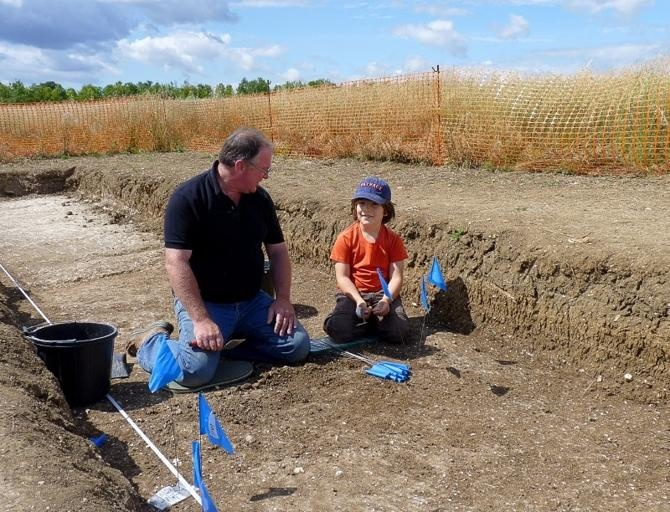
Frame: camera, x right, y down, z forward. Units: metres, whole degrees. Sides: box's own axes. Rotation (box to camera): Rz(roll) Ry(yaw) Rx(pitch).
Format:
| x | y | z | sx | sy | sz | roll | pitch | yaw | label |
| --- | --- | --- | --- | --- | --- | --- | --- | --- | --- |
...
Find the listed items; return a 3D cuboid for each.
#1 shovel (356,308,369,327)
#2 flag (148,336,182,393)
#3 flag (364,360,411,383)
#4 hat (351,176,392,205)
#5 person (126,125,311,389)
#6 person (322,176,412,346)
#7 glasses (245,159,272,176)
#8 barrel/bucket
| x | y | z | sx | sy | sz | roll | pitch | yaw | label |
| --- | --- | --- | --- | --- | --- | --- | --- | --- | --- |
| 0.222 | 0.501 | 5.606 | 0.105 | 0.103 | 0.181 | 29 | 0 | 1 | shovel |
| -1.102 | 0.659 | 4.456 | 0.199 | 0.062 | 0.550 | -2 | 39 | -11 | flag |
| 0.408 | 0.873 | 5.136 | 0.221 | 0.062 | 0.162 | 8 | 19 | 42 | flag |
| 0.335 | -0.541 | 5.710 | 0.225 | 0.167 | 0.304 | 7 | 2 | 19 | hat |
| -0.887 | -0.008 | 5.099 | 1.240 | 1.817 | 0.678 | -9 | 20 | -21 | person |
| 0.289 | 0.038 | 5.676 | 0.737 | 1.310 | 0.904 | 6 | 20 | 21 | person |
| -0.545 | -0.640 | 4.993 | 0.095 | 0.158 | 0.229 | 6 | 20 | 22 | glasses |
| -1.920 | 0.718 | 5.050 | 0.650 | 0.538 | 0.611 | 0 | 14 | 0 | barrel/bucket |
